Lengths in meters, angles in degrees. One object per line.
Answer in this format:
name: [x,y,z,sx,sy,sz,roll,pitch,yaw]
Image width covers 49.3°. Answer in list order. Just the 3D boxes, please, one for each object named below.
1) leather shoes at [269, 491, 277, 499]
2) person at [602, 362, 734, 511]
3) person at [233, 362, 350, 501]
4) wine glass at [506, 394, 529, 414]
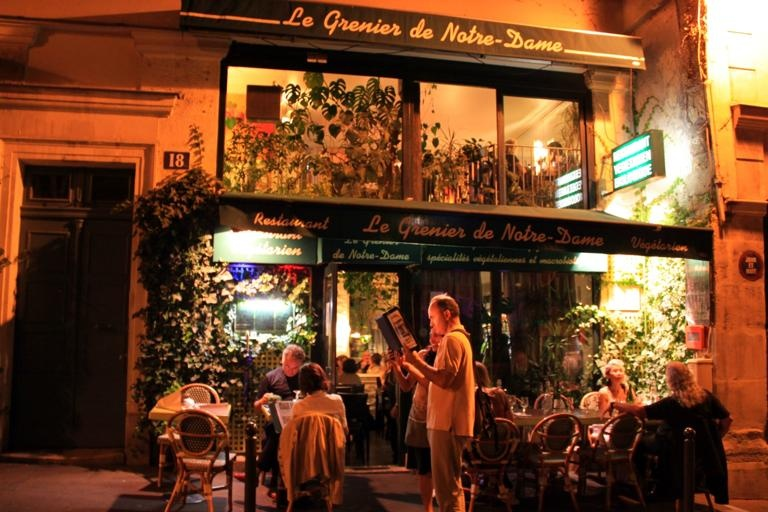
leather shoes: [-1.569,3.392,11.859,0.088,0.037,0.124,12,-50,8]
person: [4.205,2.465,11.769,1.298,1.921,0.633,0,-8,21]
person: [-0.935,2.372,11.212,0.892,1.839,0.246,3,-7,-5]
wine glass: [2.109,2.314,13.056,0.348,0.277,0.385,5,-12,-29]
